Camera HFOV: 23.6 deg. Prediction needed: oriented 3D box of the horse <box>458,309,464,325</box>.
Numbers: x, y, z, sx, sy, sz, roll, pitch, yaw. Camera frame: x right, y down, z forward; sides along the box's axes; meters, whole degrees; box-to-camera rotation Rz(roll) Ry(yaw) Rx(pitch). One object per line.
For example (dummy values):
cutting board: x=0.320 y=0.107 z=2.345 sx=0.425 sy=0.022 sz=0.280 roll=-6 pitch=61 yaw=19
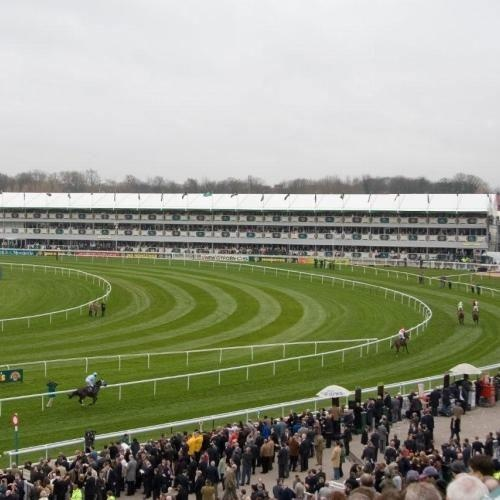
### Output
horse: x=10.605 y=3.323 z=60.089 sx=0.292 sy=0.814 sz=1.380 roll=0 pitch=2 yaw=10
